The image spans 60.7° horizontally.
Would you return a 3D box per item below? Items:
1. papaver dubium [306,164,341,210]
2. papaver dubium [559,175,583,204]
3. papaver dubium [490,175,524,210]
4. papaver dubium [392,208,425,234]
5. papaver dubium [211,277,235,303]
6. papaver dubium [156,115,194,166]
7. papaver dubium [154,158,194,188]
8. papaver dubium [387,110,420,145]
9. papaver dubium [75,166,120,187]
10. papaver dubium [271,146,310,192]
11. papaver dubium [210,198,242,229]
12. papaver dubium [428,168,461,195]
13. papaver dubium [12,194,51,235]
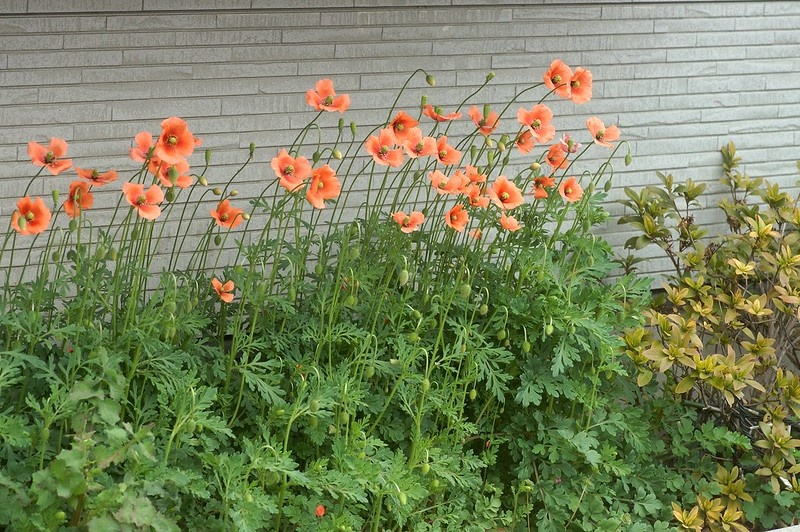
[{"bbox_3d":[-0.319,-0.322,2.773,0.125,0.231,0.264,5,-10,-9],"label":"papaver dubium"},{"bbox_3d":[0.775,-0.343,3.099,0.095,0.126,0.219,2,-10,11],"label":"papaver dubium"},{"bbox_3d":[0.440,-0.302,2.919,0.144,0.147,0.076,14,-33,-21],"label":"papaver dubium"},{"bbox_3d":[0.032,-0.192,2.863,0.116,0.097,0.135,5,-10,-5],"label":"papaver dubium"},{"bbox_3d":[-0.766,0.102,2.908,0.104,0.112,0.056,-10,-16,-43],"label":"papaver dubium"},{"bbox_3d":[-0.857,-0.468,2.572,0.131,0.188,0.115,8,-11,-22],"label":"papaver dubium"},{"bbox_3d":[-0.887,-0.358,2.605,0.143,0.071,0.136,11,-7,-8],"label":"papaver dubium"},{"bbox_3d":[0.002,-0.586,2.932,0.135,0.145,0.067,-13,28,-14],"label":"papaver dubium"},{"bbox_3d":[-1.310,-0.389,2.915,0.161,0.044,0.169,25,12,7],"label":"papaver dubium"},{"bbox_3d":[-0.430,-0.377,2.711,0.153,0.199,0.177,5,-10,-5],"label":"papaver dubium"},{"bbox_3d":[-0.802,-0.240,3.085,0.128,0.136,0.067,30,-21,6],"label":"papaver dubium"},{"bbox_3d":[0.186,-0.353,2.849,0.119,0.109,0.144,-5,-14,41],"label":"papaver dubium"},{"bbox_3d":[-1.419,-0.199,2.588,0.115,0.161,0.157,12,-13,-38],"label":"papaver dubium"}]
